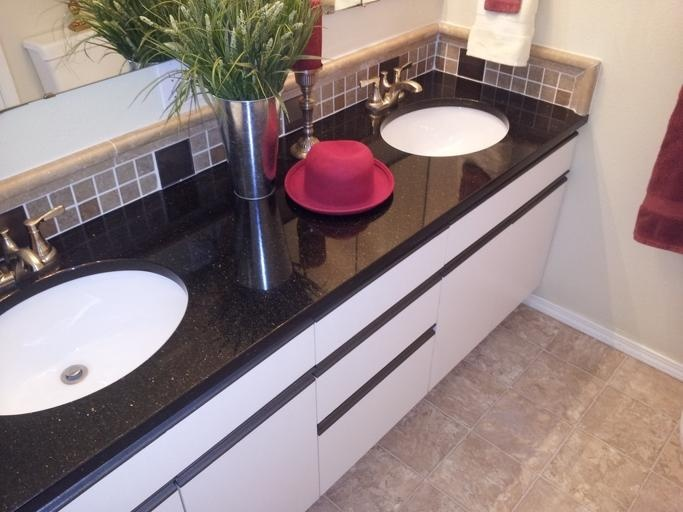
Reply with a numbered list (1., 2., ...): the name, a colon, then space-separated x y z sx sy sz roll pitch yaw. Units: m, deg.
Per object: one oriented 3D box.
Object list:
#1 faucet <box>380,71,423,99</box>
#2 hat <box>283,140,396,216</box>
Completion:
1. faucet: 0.215 -0.629 1.939 0.105 0.110 0.141 -13 45 -16
2. hat: -0.014 -0.216 1.467 0.244 0.100 0.273 28 48 25
